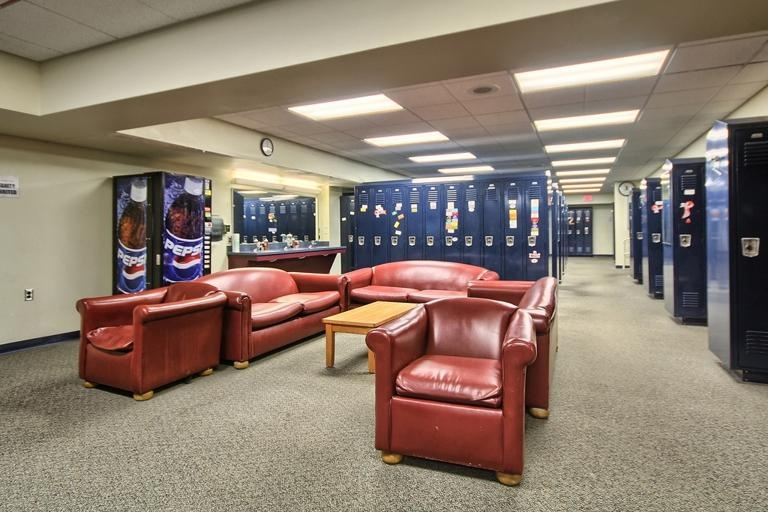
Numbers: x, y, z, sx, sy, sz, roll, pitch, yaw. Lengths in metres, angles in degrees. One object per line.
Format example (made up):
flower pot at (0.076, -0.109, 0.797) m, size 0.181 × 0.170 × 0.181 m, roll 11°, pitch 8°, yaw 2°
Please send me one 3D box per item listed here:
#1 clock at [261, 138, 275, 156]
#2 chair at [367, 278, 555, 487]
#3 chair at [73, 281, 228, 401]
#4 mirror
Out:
clock at (-2.094, -1.934, 8.487) m, size 0.065 × 0.339 × 0.368 m, roll -2°, pitch 2°, yaw 26°
chair at (0.801, 0.991, 4.406) m, size 1.371 × 1.024 × 1.654 m, roll 1°, pitch 3°, yaw 26°
chair at (-2.608, 0.889, 5.417) m, size 1.089 × 1.115 × 1.095 m, roll 3°, pitch 5°, yaw 32°
mirror at (-2.332, -0.757, 10.282) m, size 0.127 × 0.905 × 2.147 m, roll 8°, pitch 10°, yaw 43°
